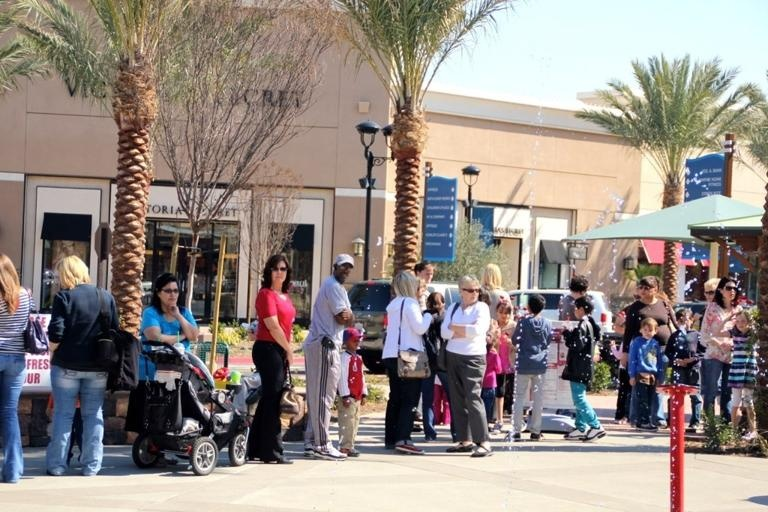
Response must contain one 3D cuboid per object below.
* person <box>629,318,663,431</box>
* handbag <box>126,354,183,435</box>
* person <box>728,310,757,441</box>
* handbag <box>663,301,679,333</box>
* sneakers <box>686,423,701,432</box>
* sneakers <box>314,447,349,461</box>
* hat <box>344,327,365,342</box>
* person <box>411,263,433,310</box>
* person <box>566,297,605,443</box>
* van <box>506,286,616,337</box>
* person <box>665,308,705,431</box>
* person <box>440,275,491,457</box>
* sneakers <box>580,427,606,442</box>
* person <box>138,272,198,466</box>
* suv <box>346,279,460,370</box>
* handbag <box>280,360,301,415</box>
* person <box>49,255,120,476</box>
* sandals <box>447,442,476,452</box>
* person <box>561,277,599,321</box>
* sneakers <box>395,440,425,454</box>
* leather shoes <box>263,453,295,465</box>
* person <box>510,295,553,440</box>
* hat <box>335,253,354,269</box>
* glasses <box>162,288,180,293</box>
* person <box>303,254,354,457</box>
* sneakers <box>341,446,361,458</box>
[{"bbox_3d":[5.644,2.510,27.347,0.763,2.367,0.623,-2,-8,14],"label":"person"},{"bbox_3d":[-4.192,2.569,23.694,1.017,1.773,0.910,2,-15,-2],"label":"handbag"},{"bbox_3d":[7.437,2.441,26.370,0.563,2.723,1.078,0,-8,-4],"label":"person"},{"bbox_3d":[6.230,1.324,27.612,0.286,0.638,0.411,-4,7,39],"label":"handbag"},{"bbox_3d":[6.694,3.708,27.500,0.115,0.169,0.375,4,-5,-1],"label":"sneakers"},{"bbox_3d":[-1.017,3.794,24.670,0.595,0.311,0.258,1,-4,0],"label":"sneakers"},{"bbox_3d":[-0.578,1.558,25.067,0.324,0.210,0.251,-9,0,13],"label":"hat"},{"bbox_3d":[0.844,0.583,26.904,0.336,1.287,0.448,12,40,16],"label":"person"},{"bbox_3d":[4.101,2.308,26.273,0.817,2.944,0.653,-2,-8,10],"label":"person"},{"bbox_3d":[4.753,1.289,33.973,2.265,1.437,1.542,3,-1,9],"label":"van"},{"bbox_3d":[6.482,2.412,27.379,0.775,2.701,1.112,-3,-8,16],"label":"person"},{"bbox_3d":[1.652,2.168,25.228,0.921,3.543,0.664,-1,-7,5],"label":"person"},{"bbox_3d":[4.309,3.641,26.115,0.529,0.284,0.207,-23,5,-2],"label":"sneakers"},{"bbox_3d":[-4.070,1.339,24.477,0.988,2.014,1.023,3,18,-3],"label":"person"},{"bbox_3d":[0.502,1.606,32.697,1.596,1.842,2.913,-1,2,45],"label":"suv"},{"bbox_3d":[-1.749,2.605,24.596,0.338,0.941,0.859,-1,-8,3],"label":"handbag"},{"bbox_3d":[-5.564,1.996,23.533,1.154,4.062,0.749,2,-8,-15],"label":"person"},{"bbox_3d":[1.550,3.814,25.299,0.541,0.274,0.216,4,-2,0],"label":"sandals"},{"bbox_3d":[4.516,1.002,29.501,0.505,1.812,0.674,-2,13,-19],"label":"person"},{"bbox_3d":[0.543,3.728,25.070,0.561,0.303,0.231,3,0,0],"label":"sneakers"},{"bbox_3d":[-1.985,3.850,24.325,0.550,0.285,0.221,-1,0,-3],"label":"leather shoes"},{"bbox_3d":[3.021,2.268,26.084,0.785,2.955,0.841,1,-8,-14],"label":"person"},{"bbox_3d":[-0.764,0.039,24.766,0.277,0.236,0.406,6,-9,-15],"label":"hat"},{"bbox_3d":[-4.010,0.644,24.210,0.325,0.114,0.176,3,-10,-21],"label":"glasses"},{"bbox_3d":[-1.044,1.922,24.595,0.973,3.909,0.622,-1,-7,6],"label":"person"},{"bbox_3d":[-0.612,3.811,24.825,0.376,0.196,0.151,3,0,-4],"label":"sneakers"}]
